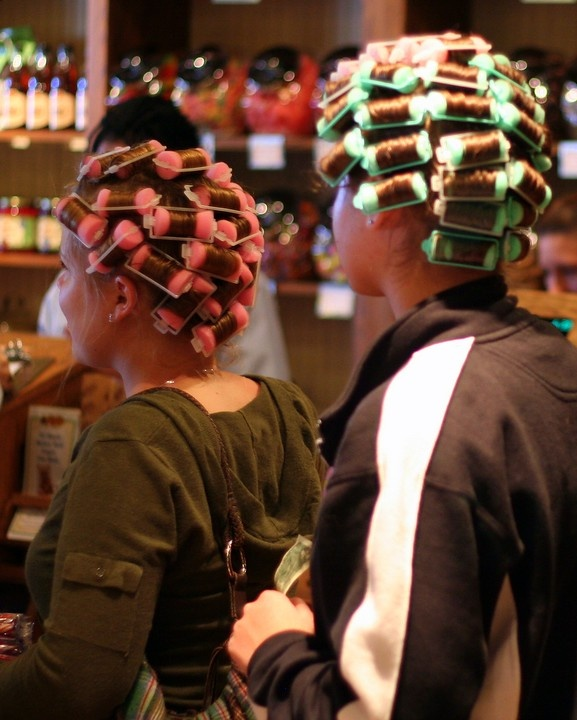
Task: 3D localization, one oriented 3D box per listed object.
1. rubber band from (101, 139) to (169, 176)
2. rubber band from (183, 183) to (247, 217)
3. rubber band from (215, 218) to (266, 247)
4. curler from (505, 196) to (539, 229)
[{"bbox_3d":[-0.212,-0.283,1.130,0.064,0.019,0.060,-18,9,14],"label":"rubber band"},{"bbox_3d":[-0.103,-0.224,1.161,0.039,0.026,0.076,30,15,33],"label":"rubber band"},{"bbox_3d":[-0.072,-0.183,1.171,0.025,0.042,0.065,3,1,43],"label":"rubber band"},{"bbox_3d":[0.255,-0.159,0.876,0.019,0.023,0.046,-11,-7,39],"label":"curler"}]
